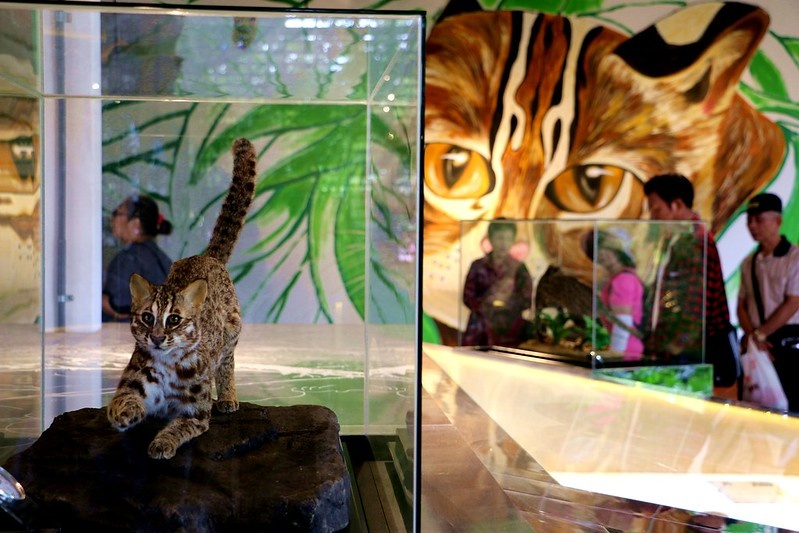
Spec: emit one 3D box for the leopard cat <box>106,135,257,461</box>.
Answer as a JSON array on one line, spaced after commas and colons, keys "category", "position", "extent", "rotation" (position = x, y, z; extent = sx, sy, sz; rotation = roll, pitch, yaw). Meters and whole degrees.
[{"category": "leopard cat", "position": [-0.768, 0.088, 2.434], "extent": [0.463, 1.129, 0.362], "rotation": [4, 9, -22]}]
